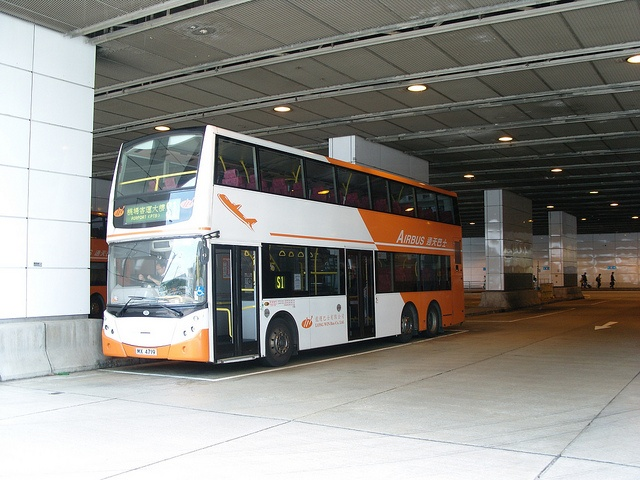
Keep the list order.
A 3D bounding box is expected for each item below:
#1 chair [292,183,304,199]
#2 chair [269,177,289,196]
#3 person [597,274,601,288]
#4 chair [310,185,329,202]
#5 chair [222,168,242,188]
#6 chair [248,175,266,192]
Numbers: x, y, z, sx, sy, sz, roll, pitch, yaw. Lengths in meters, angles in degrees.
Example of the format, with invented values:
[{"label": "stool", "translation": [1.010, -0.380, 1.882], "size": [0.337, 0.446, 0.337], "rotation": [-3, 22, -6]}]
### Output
[{"label": "chair", "translation": [-0.565, -1.271, 12.274], "size": [0.371, 0.360, 0.380], "rotation": [0, -3, 1]}, {"label": "chair", "translation": [-1.000, -1.336, 11.758], "size": [0.373, 0.454, 0.416], "rotation": [1, 1, 4]}, {"label": "person", "translation": [39.126, 5.812, 65.769], "size": [0.377, 2.021, 1.433], "rotation": [-3, -7, 36]}, {"label": "chair", "translation": [0.000, -1.254, 12.985], "size": [0.469, 0.415, 0.446], "rotation": [-1, -8, 5]}, {"label": "chair", "translation": [-1.966, -1.345, 10.495], "size": [0.482, 0.418, 0.357], "rotation": [1, -1, -2]}, {"label": "chair", "translation": [-1.479, -1.344, 11.168], "size": [0.368, 0.320, 0.622], "rotation": [4, 3, 14]}]
